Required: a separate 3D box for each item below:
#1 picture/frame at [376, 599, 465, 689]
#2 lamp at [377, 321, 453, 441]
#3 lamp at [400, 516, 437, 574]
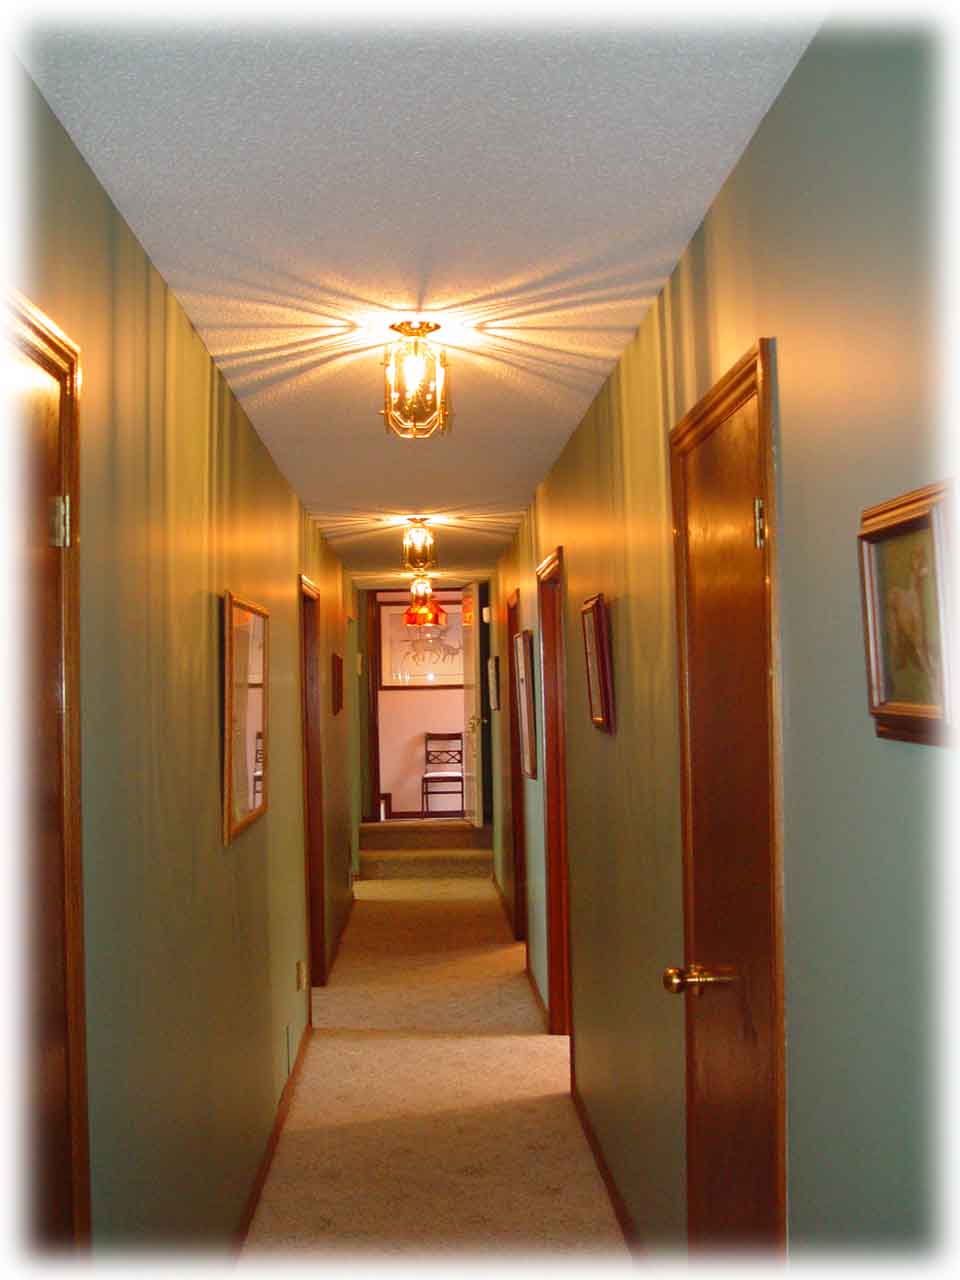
[{"bbox_3d":[-0.661,0.056,10.138,0.753,0.890,0.085,-1,6,-3],"label":"picture/frame"},{"bbox_3d":[-0.166,-0.666,2.557,0.166,0.294,0.215,0,-4,-5],"label":"lamp"},{"bbox_3d":[-0.354,-0.575,5.910,0.185,0.349,0.224,2,6,21],"label":"lamp"}]
